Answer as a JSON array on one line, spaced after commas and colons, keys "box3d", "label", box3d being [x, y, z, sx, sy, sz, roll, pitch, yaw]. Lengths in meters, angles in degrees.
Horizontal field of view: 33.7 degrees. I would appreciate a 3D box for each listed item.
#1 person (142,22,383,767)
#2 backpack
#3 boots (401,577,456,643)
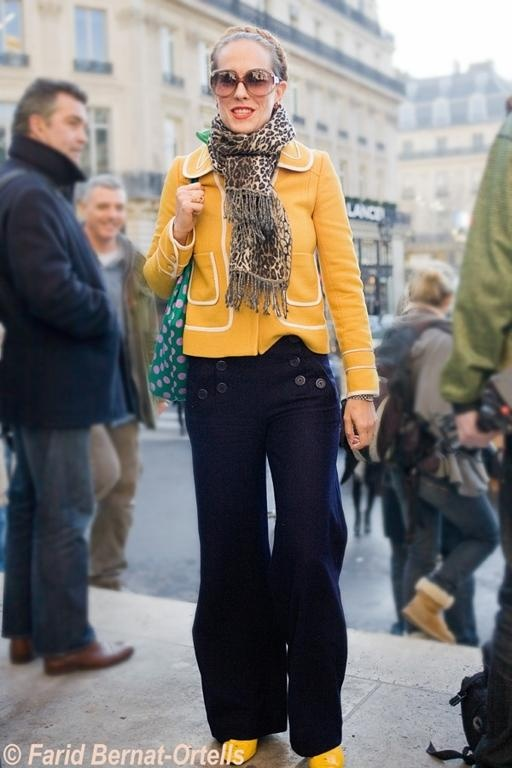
[{"box3d": [0.005, 0.020, 1.973, 0.547, 1.698, 0.365, -3, 7, 6], "label": "person"}, {"box3d": [0.410, 0.041, 2.409, 0.311, 0.435, 0.414, -5, -35, 17], "label": "backpack"}, {"box3d": [0.530, 0.679, 2.537, 0.183, 0.129, 0.075, 43, -3, -31], "label": "boots"}]
